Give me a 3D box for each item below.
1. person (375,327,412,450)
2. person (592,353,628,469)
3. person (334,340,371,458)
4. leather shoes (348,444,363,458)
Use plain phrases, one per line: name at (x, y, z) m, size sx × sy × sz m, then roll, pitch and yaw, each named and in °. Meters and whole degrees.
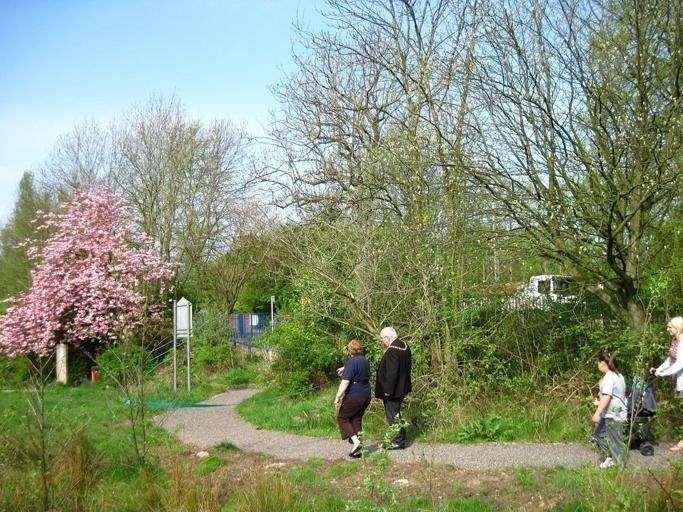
person at (0.932, 2.151, 12.017) m, size 0.656 × 1.748 × 0.370 m, roll -3°, pitch -6°, yaw 2°
person at (3.964, 2.242, 9.908) m, size 0.519 × 1.606 × 2.439 m, roll -5°, pitch -8°, yaw 22°
person at (0.210, 2.514, 11.922) m, size 0.630 × 2.041 × 1.541 m, roll -3°, pitch -7°, yaw 0°
leather shoes at (0.237, 3.389, 11.555) m, size 0.209 × 0.202 × 0.322 m, roll -4°, pitch -8°, yaw 3°
